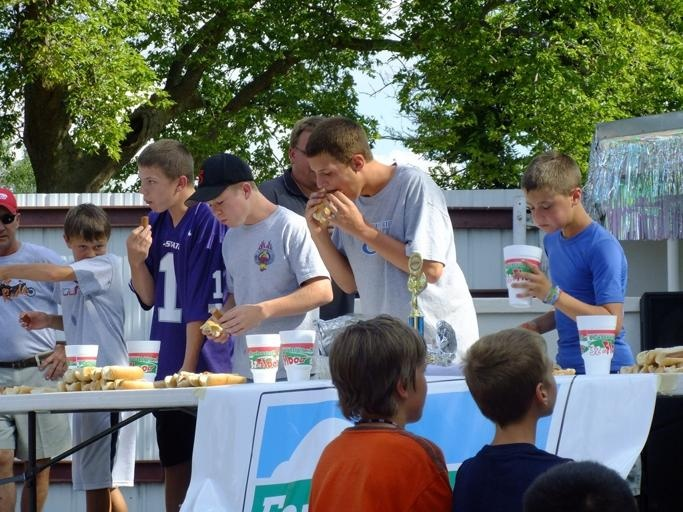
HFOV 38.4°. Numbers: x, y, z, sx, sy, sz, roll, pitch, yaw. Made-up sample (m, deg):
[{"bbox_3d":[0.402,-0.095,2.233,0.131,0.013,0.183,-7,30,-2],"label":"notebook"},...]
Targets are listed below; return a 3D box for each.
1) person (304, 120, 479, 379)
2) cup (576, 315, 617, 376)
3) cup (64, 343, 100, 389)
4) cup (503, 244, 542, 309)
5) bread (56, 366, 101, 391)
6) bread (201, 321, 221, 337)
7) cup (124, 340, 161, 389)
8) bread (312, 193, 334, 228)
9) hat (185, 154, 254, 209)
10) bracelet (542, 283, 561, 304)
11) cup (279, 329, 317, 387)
[{"bbox_3d":[0.308,0.206,6.656,0.987,2.504,0.915,-8,30,-6],"label":"person"},{"bbox_3d":[1.548,0.525,5.857,0.180,0.344,0.242,-7,-4,45],"label":"cup"},{"bbox_3d":[-1.590,0.635,6.003,0.165,0.172,0.166,4,9,-1],"label":"cup"},{"bbox_3d":[1.130,0.119,6.069,0.222,0.385,0.179,-4,-3,10],"label":"cup"},{"bbox_3d":[-1.541,0.732,5.787,0.186,0.074,0.180,-1,1,1],"label":"bread"},{"bbox_3d":[-0.787,0.457,5.940,0.097,0.107,0.042,33,-16,1],"label":"bread"},{"bbox_3d":[-1.235,0.677,6.090,0.208,0.308,0.208,0,-15,0],"label":"cup"},{"bbox_3d":[-0.115,-0.295,6.127,0.104,0.110,0.184,20,-13,4],"label":"bread"},{"bbox_3d":[-0.829,-0.531,6.563,0.521,0.274,0.339,-22,12,-41],"label":"hat"},{"bbox_3d":[1.296,0.242,6.023,0.083,0.107,0.110,30,-35,-12],"label":"bracelet"},{"bbox_3d":[-0.251,0.579,5.762,0.276,0.291,0.270,0,-8,0],"label":"cup"}]
